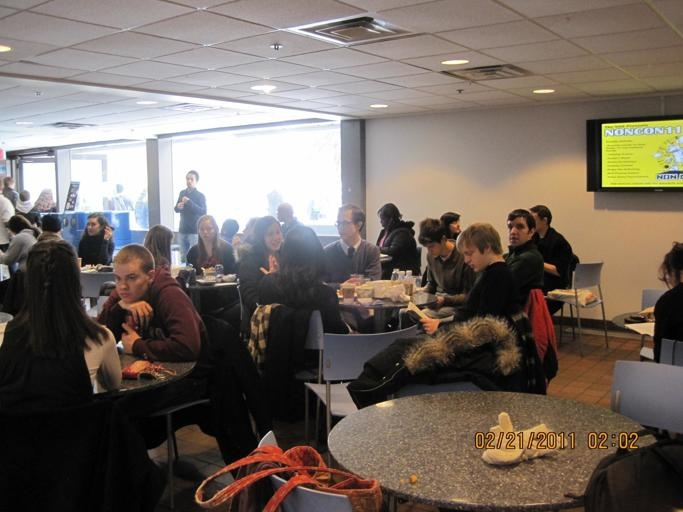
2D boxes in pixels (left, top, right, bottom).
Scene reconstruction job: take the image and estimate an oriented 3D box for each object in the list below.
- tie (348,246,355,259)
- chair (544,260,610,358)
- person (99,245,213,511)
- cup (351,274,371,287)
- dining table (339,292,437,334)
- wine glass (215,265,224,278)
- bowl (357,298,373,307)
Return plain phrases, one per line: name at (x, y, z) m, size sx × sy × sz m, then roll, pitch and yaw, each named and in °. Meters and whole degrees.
tie at (0.087, -0.037, 5.269) m, size 0.094 × 0.096 × 0.023 m, roll -21°, pitch -7°, yaw 18°
chair at (3.080, 0.579, 6.719) m, size 0.653 × 1.194 × 1.820 m, roll 1°, pitch 9°, yaw 28°
person at (-1.094, 0.573, 3.045) m, size 0.594 × 1.216 × 0.646 m, roll 0°, pitch 7°, yaw 25°
cup at (0.144, 0.228, 4.842) m, size 0.109 × 0.080 × 0.111 m, roll -1°, pitch 1°, yaw 0°
dining table at (0.320, 0.514, 4.481) m, size 0.511 × 0.354 × 0.555 m, roll 6°, pitch 10°, yaw 44°
wine glass at (-1.361, 0.175, 5.770) m, size 0.103 × 0.103 × 0.187 m, roll 3°, pitch 13°, yaw -12°
bowl at (0.184, 0.380, 4.237) m, size 0.128 × 0.024 × 0.198 m, roll -2°, pitch 8°, yaw 5°
